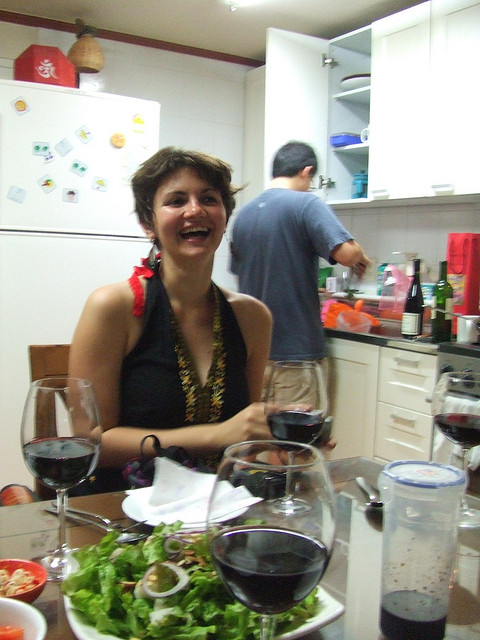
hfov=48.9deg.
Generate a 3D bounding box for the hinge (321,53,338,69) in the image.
[{"bbox_3d":[0.559,-1.650,3.365,0.120,0.064,0.029,9,29,-26],"label":"hinge"}]

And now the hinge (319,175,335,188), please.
[{"bbox_3d":[0.559,-0.887,3.399,0.096,0.055,0.081,-1,3,-19],"label":"hinge"}]

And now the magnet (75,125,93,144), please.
[{"bbox_3d":[-0.777,-0.919,2.614,0.078,0.076,0.021,-40,22,-19],"label":"magnet"}]

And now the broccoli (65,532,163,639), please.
[{"bbox_3d":[-0.108,0.214,0.436,0.054,0.022,0.054,7,21,7],"label":"broccoli"}]

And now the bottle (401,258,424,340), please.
[{"bbox_3d":[0.862,-0.105,2.623,0.098,0.385,0.203,1,4,17],"label":"bottle"}]

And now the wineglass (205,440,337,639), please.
[{"bbox_3d":[0.026,0.142,0.358,0.085,0.107,0.066,-2,4,-25],"label":"wineglass"}]

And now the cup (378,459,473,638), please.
[{"bbox_3d":[0.166,0.196,0.485,0.073,0.149,0.159,1,4,16],"label":"cup"}]

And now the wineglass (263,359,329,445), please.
[{"bbox_3d":[0.089,0.124,0.798,0.085,0.117,0.125,2,4,35],"label":"wineglass"}]

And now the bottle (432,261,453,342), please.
[{"bbox_3d":[0.994,-0.103,2.581,0.092,0.382,0.421,1,4,20],"label":"bottle"}]

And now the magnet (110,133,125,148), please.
[{"bbox_3d":[-0.626,-0.918,2.686,0.073,0.064,0.020,8,-5,-30],"label":"magnet"}]
